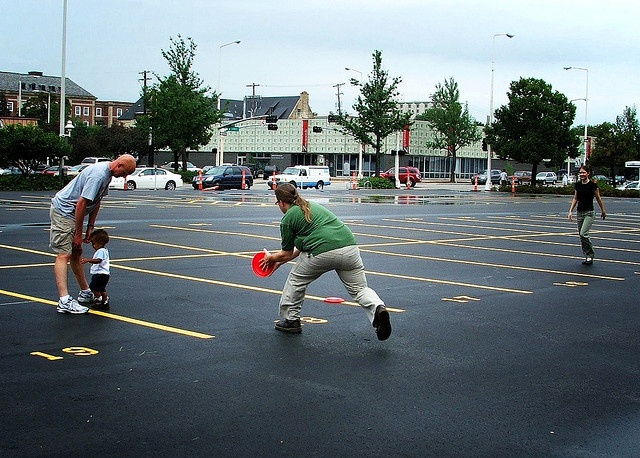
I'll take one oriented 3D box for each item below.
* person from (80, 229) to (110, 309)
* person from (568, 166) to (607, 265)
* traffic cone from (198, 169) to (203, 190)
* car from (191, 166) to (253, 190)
[{"bbox_3d":[-3.274,0.592,8.475,0.429,1.135,0.491,-1,-5,-8],"label":"person"},{"bbox_3d":[6.493,-0.355,14.171,0.981,2.329,0.778,0,4,22],"label":"person"},{"bbox_3d":[-9.682,-3.849,47.121,0.365,1.179,0.767,1,5,-13],"label":"traffic cone"},{"bbox_3d":[-7.962,-4.476,48.681,2.161,2.071,5.205,1,2,41],"label":"car"}]
